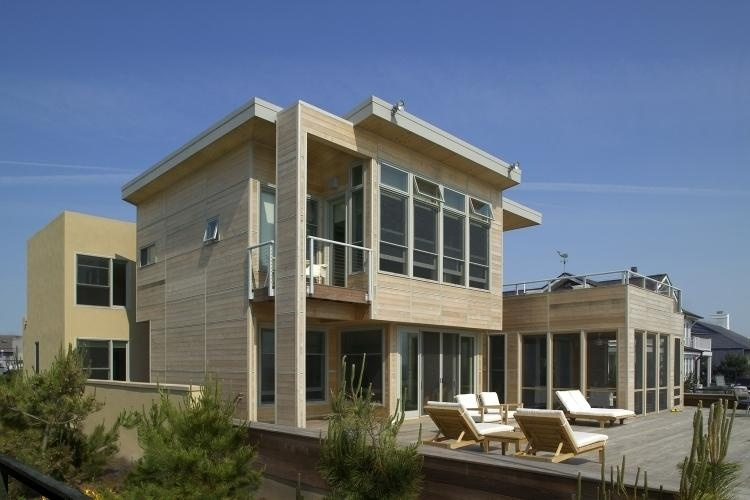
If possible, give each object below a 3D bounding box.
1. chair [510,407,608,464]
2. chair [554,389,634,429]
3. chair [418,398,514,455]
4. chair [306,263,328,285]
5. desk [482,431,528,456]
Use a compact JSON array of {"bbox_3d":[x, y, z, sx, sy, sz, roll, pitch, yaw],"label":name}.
[{"bbox_3d":[6.062,6.209,22.956,1.724,1.753,2.727,-5,-6,44],"label":"chair"},{"bbox_3d":[8.886,6.569,28.265,2.414,1.171,1.653,-8,-9,37],"label":"chair"},{"bbox_3d":[3.438,6.204,24.216,2.503,1.510,1.732,3,-6,-37],"label":"chair"},{"bbox_3d":[-2.367,0.959,27.778,0.771,1.033,0.735,0,-11,2],"label":"chair"},{"bbox_3d":[4.544,6.441,23.754,0.934,0.442,0.963,-2,-3,38],"label":"desk"}]
